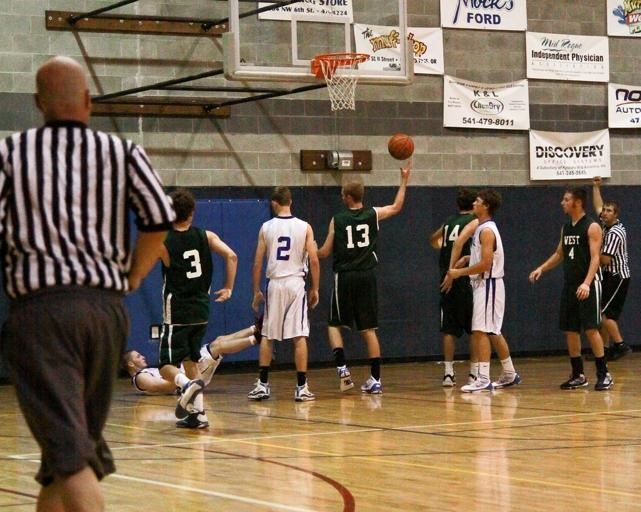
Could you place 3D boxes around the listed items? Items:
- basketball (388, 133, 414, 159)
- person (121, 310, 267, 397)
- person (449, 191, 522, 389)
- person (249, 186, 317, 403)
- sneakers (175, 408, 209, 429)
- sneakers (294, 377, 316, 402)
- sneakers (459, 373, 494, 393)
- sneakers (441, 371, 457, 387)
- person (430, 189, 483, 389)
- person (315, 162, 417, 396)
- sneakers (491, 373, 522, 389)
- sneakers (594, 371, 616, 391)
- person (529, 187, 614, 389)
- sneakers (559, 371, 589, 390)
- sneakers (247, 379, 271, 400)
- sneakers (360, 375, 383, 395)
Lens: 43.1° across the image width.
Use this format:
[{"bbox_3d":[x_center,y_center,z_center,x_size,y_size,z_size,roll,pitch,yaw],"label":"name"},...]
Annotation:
[{"bbox_3d":[1.039,-1.379,10.403,0.264,0.299,0.279,2,8,42],"label":"basketball"},{"bbox_3d":[-1.431,1.151,9.102,1.632,0.748,1.425,-12,-1,-8],"label":"person"},{"bbox_3d":[1.803,0.417,9.001,0.718,2.280,0.813,-2,5,14],"label":"person"},{"bbox_3d":[-0.386,0.433,8.388,0.759,2.247,0.481,-3,5,-5],"label":"person"},{"bbox_3d":[-1.083,1.383,6.895,0.320,0.181,0.122,3,-3,10],"label":"sneakers"},{"bbox_3d":[-0.169,1.428,8.608,0.118,0.263,0.330,1,-1,44],"label":"sneakers"},{"bbox_3d":[1.737,1.443,9.041,0.408,0.214,0.161,-2,-7,11],"label":"sneakers"},{"bbox_3d":[1.511,1.461,9.565,0.135,0.191,0.385,0,-11,9],"label":"sneakers"},{"bbox_3d":[1.624,0.343,9.602,0.727,2.474,0.688,-3,22,0],"label":"person"},{"bbox_3d":[0.438,0.377,9.120,0.726,2.384,0.780,-1,6,19],"label":"person"},{"bbox_3d":[2.125,1.442,9.356,0.404,0.214,0.157,-9,-6,-3],"label":"sneakers"},{"bbox_3d":[3.158,1.397,8.998,0.110,0.174,0.344,-10,-7,29],"label":"sneakers"},{"bbox_3d":[2.877,0.398,8.962,0.665,2.267,0.876,-2,5,10],"label":"person"},{"bbox_3d":[2.859,1.427,9.184,0.445,0.228,0.136,1,-6,-31],"label":"sneakers"},{"bbox_3d":[-0.675,1.431,8.677,0.327,0.264,0.134,-1,-4,44],"label":"sneakers"},{"bbox_3d":[0.553,1.457,9.140,0.114,0.157,0.301,2,-1,-16],"label":"sneakers"}]
